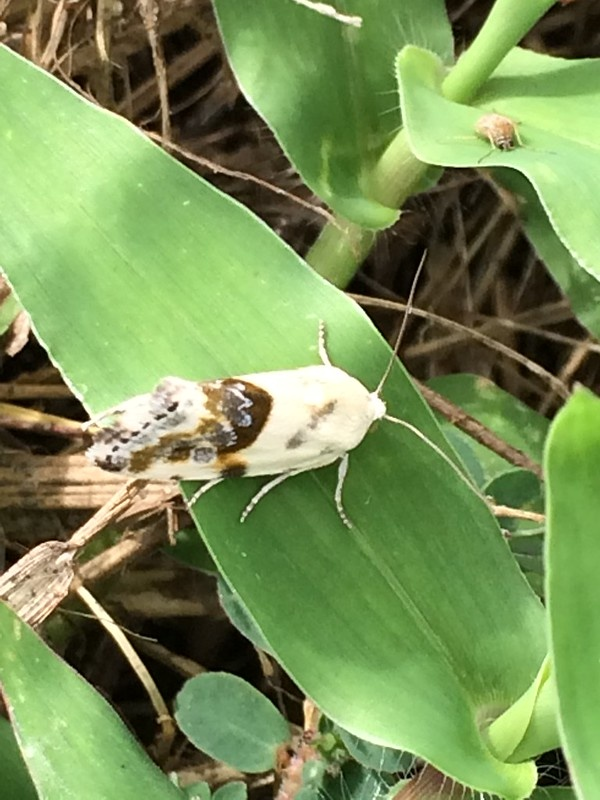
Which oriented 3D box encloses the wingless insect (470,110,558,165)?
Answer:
[{"bbox_3d":[0.295,-0.371,1.188,0.112,0.073,0.133,4,16,-10],"label":"wingless insect"}]
